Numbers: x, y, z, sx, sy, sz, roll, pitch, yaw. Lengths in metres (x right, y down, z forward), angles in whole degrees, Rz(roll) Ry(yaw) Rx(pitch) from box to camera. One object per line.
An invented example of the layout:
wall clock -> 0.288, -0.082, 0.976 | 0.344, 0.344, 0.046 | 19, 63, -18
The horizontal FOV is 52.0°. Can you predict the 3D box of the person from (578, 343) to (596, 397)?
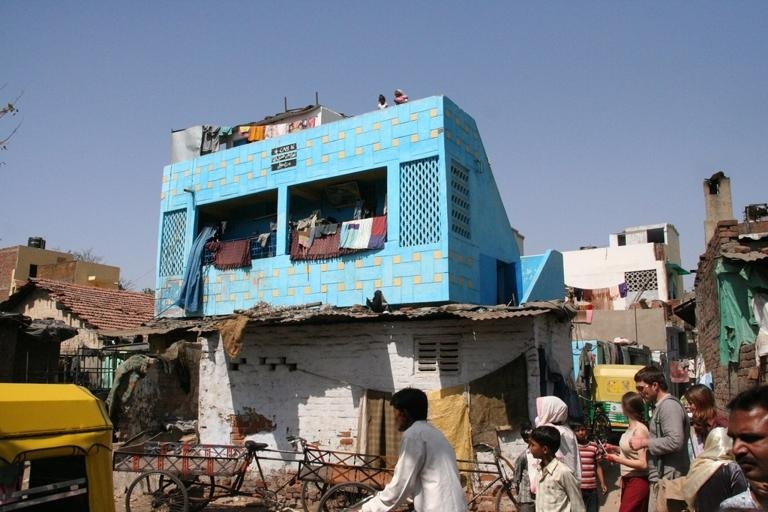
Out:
person -> 5.511, 3.073, 21.391 | 0.409, 1.526, 0.710 | -5, -16, 13
